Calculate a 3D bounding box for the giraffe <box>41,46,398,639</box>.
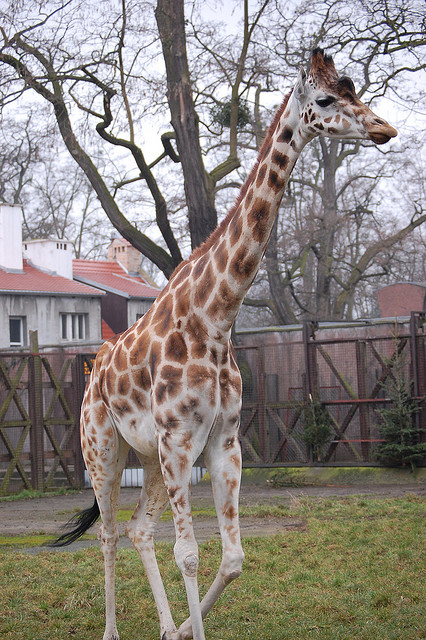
[{"bbox_3d":[-0.029,0.323,8.058,0.888,3.944,2.569,0,-5,-34],"label":"giraffe"}]
